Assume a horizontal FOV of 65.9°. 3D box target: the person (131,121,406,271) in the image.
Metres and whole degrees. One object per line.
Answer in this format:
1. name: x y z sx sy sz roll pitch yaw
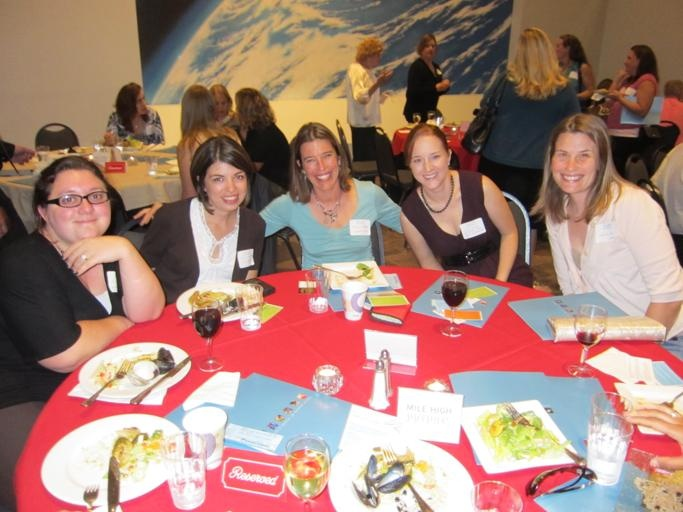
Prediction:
1. person: -0.091 -0.325 3.014 1.151 0.845 0.352 -6 35 3

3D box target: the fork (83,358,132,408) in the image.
1. fork: -0.778 0.424 1.830 0.039 0.044 0.297 4 31 14

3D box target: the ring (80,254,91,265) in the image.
1. ring: -1.019 0.012 2.093 0.027 0.036 0.011 6 -5 -7

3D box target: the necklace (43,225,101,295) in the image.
1. necklace: -1.122 0.016 2.186 0.107 0.298 0.217 -39 5 2

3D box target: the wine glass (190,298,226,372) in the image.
1. wine glass: -0.476 0.283 1.901 0.142 0.240 0.149 3 13 10

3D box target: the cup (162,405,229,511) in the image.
1. cup: -0.386 0.563 1.487 0.131 0.165 0.237 3 19 3

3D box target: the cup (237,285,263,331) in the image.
1. cup: -0.372 0.246 2.149 0.125 0.196 0.125 2 36 -2

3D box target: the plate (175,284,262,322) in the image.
1. plate: -0.502 0.178 2.199 0.217 0.033 0.218 -14 27 -35

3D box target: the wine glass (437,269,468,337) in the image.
1. wine glass: 0.449 0.178 2.078 0.105 0.258 0.106 -11 26 -22

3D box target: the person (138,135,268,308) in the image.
1. person: -0.758 -0.046 2.851 0.650 1.259 0.472 10 25 -8

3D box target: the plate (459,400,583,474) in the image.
1. plate: 0.525 0.529 1.590 0.297 0.076 0.223 -6 25 -6
